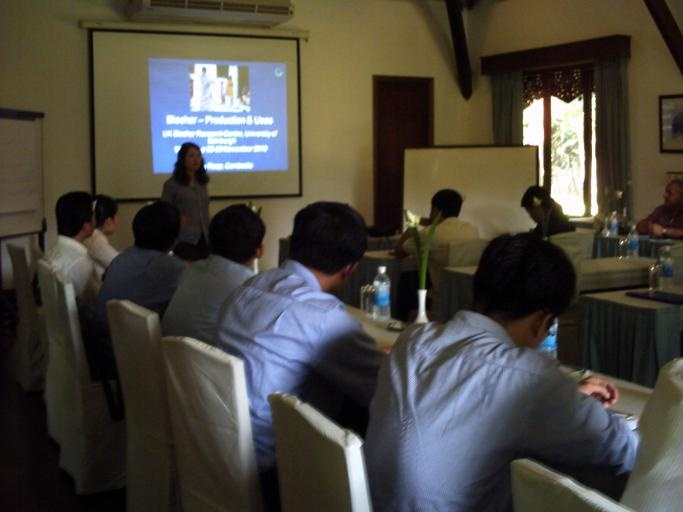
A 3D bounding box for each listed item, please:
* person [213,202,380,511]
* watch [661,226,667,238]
[{"bbox_3d":[-0.137,0.306,1.776,0.503,0.949,0.395,0,5,-14],"label":"person"},{"bbox_3d":[3.160,-0.248,5.487,0.045,0.071,0.023,2,-13,-14],"label":"watch"}]
